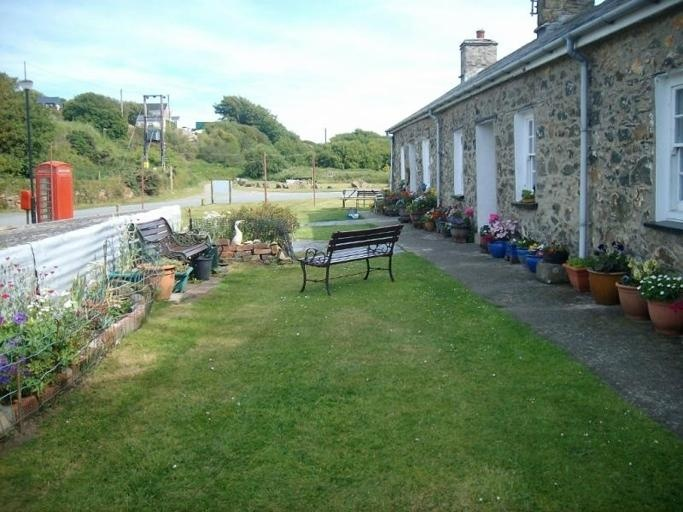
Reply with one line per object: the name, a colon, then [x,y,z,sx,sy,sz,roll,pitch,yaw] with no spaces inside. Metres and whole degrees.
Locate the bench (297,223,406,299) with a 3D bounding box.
bench: [0.158,0.056,8.724,0.770,1.058,1.984,5,9,37]

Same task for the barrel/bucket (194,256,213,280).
barrel/bucket: [-2.396,0.244,9.336,0.324,0.394,0.358,0,-1,9]

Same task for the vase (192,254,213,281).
vase: [-2.430,0.233,9.316,0.324,0.401,0.373,0,-1,6]

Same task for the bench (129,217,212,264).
bench: [-2.967,-0.069,9.047,0.726,0.569,1.269,1,9,6]
